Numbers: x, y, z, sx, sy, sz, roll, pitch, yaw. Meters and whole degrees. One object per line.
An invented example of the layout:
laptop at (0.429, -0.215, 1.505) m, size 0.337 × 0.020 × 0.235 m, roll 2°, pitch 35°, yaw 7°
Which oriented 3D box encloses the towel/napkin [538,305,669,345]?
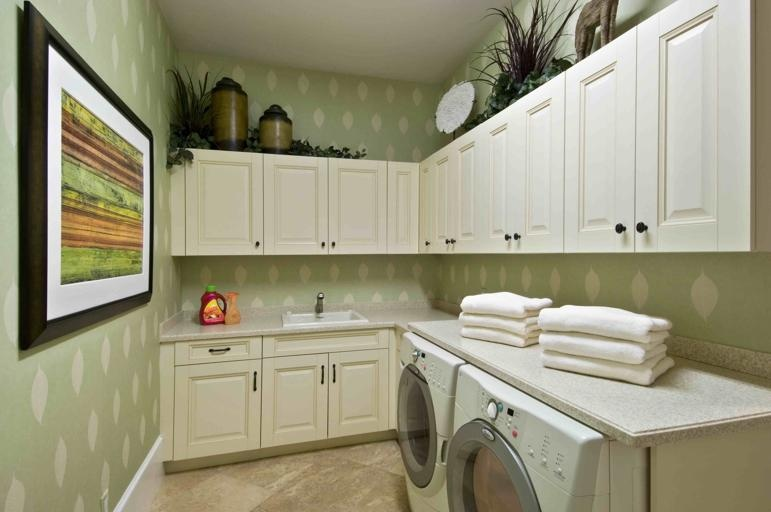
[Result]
towel/napkin at (1.105, 0.346, 2.575) m, size 0.494 × 0.153 × 0.518 m, roll -3°, pitch -11°, yaw 20°

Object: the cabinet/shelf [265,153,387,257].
cabinet/shelf at (-0.473, -0.363, 4.117) m, size 0.952 × 0.749 × 0.371 m, roll 0°, pitch -1°, yaw -12°

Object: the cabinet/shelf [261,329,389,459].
cabinet/shelf at (-0.474, 0.889, 3.899) m, size 0.928 × 0.816 × 0.448 m, roll -1°, pitch 9°, yaw -19°

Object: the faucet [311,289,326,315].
faucet at (-0.523, 0.390, 4.140) m, size 0.125 × 0.290 × 0.146 m, roll 1°, pitch -1°, yaw -13°

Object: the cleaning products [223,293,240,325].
cleaning products at (-1.128, 0.389, 3.817) m, size 0.105 × 0.167 × 0.118 m, roll -2°, pitch 1°, yaw -13°

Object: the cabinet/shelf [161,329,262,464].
cabinet/shelf at (-1.236, 0.933, 3.711) m, size 0.567 × 0.821 × 0.529 m, roll 0°, pitch 2°, yaw -31°

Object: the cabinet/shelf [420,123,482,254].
cabinet/shelf at (0.470, -0.437, 3.673) m, size 0.351 × 0.810 × 0.934 m, roll 2°, pitch -7°, yaw -11°

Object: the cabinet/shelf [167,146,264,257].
cabinet/shelf at (-1.246, -0.338, 3.892) m, size 0.654 × 0.794 × 0.381 m, roll -1°, pitch -10°, yaw -21°

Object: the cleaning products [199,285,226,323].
cleaning products at (-1.239, 0.358, 3.774) m, size 0.188 × 0.293 × 0.097 m, roll 1°, pitch 18°, yaw -9°
